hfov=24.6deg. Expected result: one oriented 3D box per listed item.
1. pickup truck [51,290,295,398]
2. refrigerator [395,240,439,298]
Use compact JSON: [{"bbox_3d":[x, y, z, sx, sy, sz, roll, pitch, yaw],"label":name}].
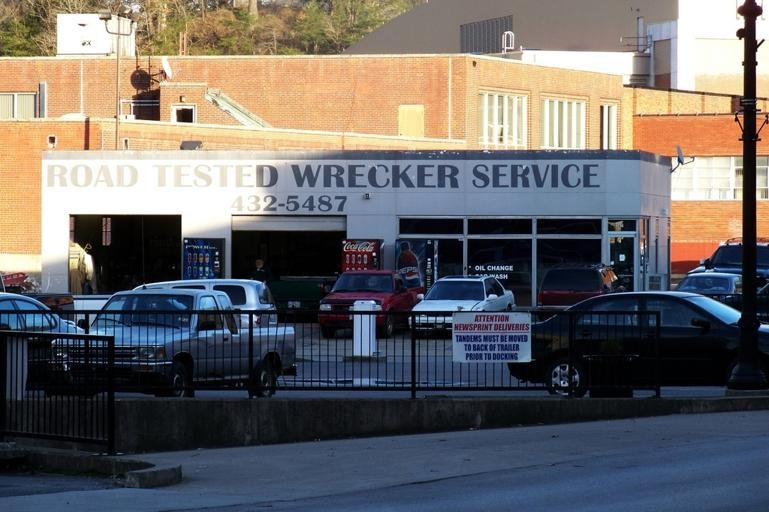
[{"bbox_3d":[-7.215,3.156,62.404,7.878,3.554,4.420,0,0,-14],"label":"pickup truck"},{"bbox_3d":[1.537,0.579,80.347,1.685,2.770,1.325,0,0,-1],"label":"refrigerator"}]
